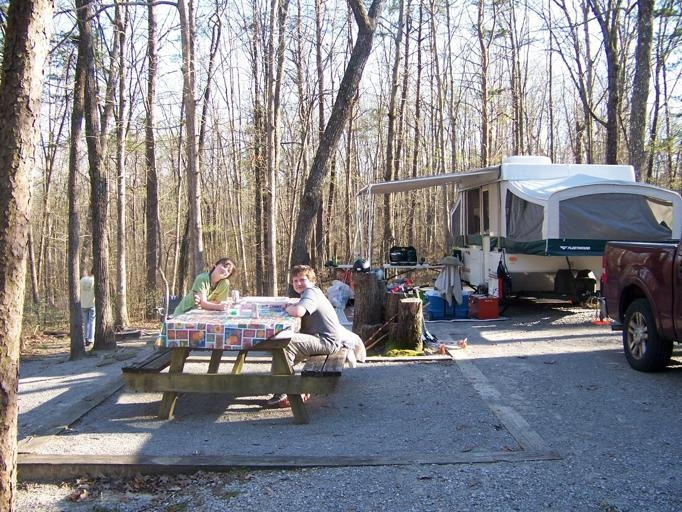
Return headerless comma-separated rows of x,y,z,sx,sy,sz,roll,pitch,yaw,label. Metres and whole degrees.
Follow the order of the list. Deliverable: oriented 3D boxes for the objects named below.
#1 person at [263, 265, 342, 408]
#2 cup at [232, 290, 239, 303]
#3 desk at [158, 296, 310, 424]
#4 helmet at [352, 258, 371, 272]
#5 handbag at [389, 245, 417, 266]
-0.473,1.043,8.110,1.057,1.853,0.887,4,-27,1,person
-1.332,0.524,8.174,0.112,0.120,0.212,3,-15,-4,cup
-1.174,1.224,7.547,1.827,1.218,1.085,-1,9,-1,desk
0.396,0.244,12.790,0.292,0.253,0.227,-21,11,16,helmet
1.416,0.004,14.868,0.642,0.464,0.384,0,-5,-1,handbag
